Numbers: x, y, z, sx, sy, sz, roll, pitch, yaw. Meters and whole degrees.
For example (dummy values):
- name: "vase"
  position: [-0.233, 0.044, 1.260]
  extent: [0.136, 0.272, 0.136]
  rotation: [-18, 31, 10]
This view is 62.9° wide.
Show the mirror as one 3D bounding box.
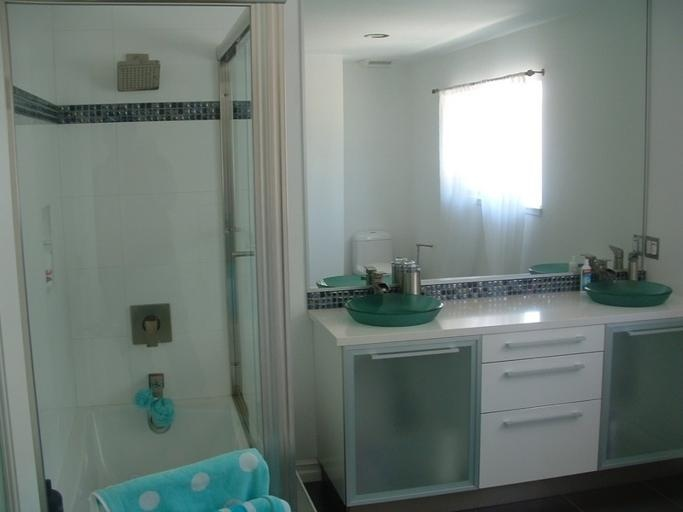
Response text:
- name: "mirror"
  position: [0.878, -0.636, 3.432]
  extent: [1.591, 1.252, 0.014]
  rotation: [-2, 4, -9]

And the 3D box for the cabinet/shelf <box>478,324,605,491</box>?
- name: "cabinet/shelf"
  position: [1.088, 0.763, 3.415]
  extent: [0.881, 0.965, 0.893]
  rotation: [2, 17, 21]

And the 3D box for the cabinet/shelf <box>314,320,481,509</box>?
- name: "cabinet/shelf"
  position: [0.334, 0.852, 3.382]
  extent: [0.942, 1.140, 0.882]
  rotation: [-3, 4, -16]

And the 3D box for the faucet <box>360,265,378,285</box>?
- name: "faucet"
  position: [0.157, 0.107, 3.372]
  extent: [0.107, 0.164, 0.105]
  rotation: [-1, 7, -13]

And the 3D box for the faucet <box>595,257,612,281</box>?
- name: "faucet"
  position: [1.702, 0.091, 3.649]
  extent: [0.097, 0.139, 0.144]
  rotation: [-1, -1, 25]

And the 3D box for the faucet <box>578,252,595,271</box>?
- name: "faucet"
  position: [1.592, 0.040, 3.640]
  extent: [0.099, 0.187, 0.106]
  rotation: [0, 2, 7]

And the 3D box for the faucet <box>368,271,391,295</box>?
- name: "faucet"
  position: [0.217, 0.169, 3.272]
  extent: [0.074, 0.078, 0.193]
  rotation: [-1, 9, -3]
